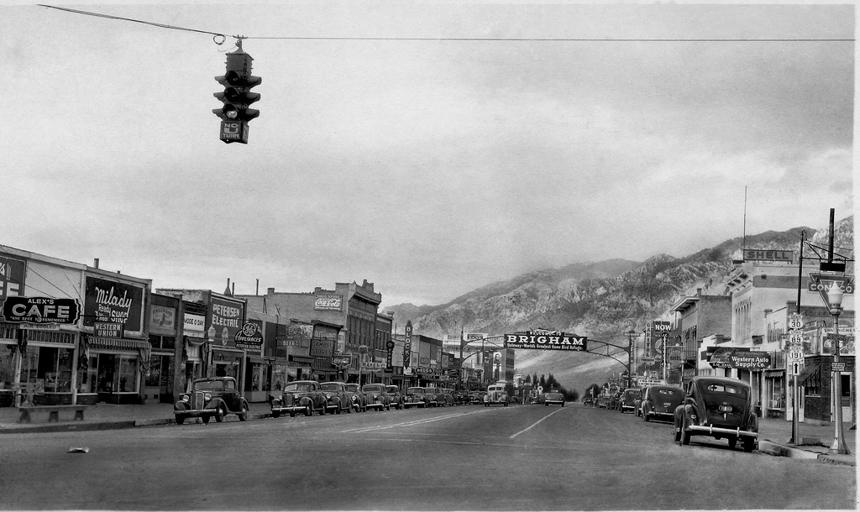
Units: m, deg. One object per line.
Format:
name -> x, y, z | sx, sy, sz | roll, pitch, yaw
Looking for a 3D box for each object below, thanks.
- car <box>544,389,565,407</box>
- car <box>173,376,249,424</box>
car -> 14.155, 16.057, 118.189 | 2.034, 1.466, 3.401 | -2, -12, 9
car -> -11.299, 7.532, 54.459 | 2.788, 1.998, 4.713 | -3, -6, 7
